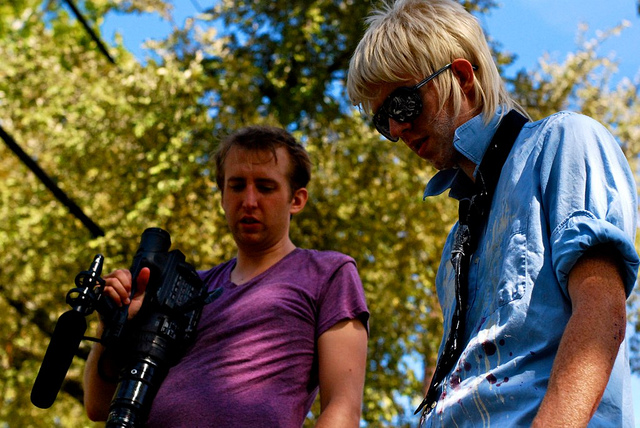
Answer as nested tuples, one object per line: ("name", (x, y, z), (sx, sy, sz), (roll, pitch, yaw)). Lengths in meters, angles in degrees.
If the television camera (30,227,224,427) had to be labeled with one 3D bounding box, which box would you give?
("television camera", (-1.044, 0.676, 4.909), (0.804, 1.168, 0.425), (11, -28, 16))
